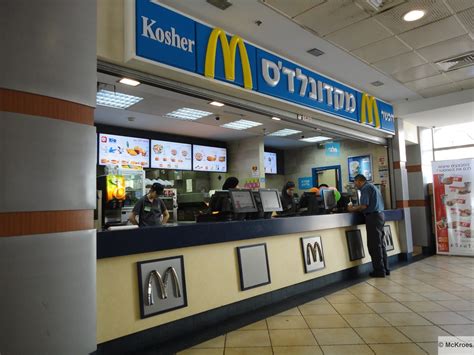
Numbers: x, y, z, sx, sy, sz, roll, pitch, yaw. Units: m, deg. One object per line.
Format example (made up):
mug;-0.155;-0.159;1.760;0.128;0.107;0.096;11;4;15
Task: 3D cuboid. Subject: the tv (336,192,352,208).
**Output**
tv;2.160;0.452;6.722;0.260;0.325;0.335;2;-1;14

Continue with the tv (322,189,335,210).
tv;1.696;0.409;6.222;0.339;0.385;0.052;10;-19;-38

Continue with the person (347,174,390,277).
person;2.462;0.859;6.169;0.600;1.823;0.486;-2;-2;28

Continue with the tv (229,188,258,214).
tv;0.079;0.330;4.656;0.414;0.342;0.043;2;-28;-36

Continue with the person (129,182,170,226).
person;-1.379;0.433;5.366;0.547;0.689;0.712;-1;-1;3

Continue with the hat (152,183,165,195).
hat;-1.194;0.165;5.097;0.207;0.106;0.154;23;9;1

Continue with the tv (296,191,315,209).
tv;1.314;0.389;6.312;0.369;0.326;0.265;-14;-7;20

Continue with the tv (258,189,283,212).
tv;0.494;0.348;5.092;0.441;0.404;0.048;7;-26;-46
